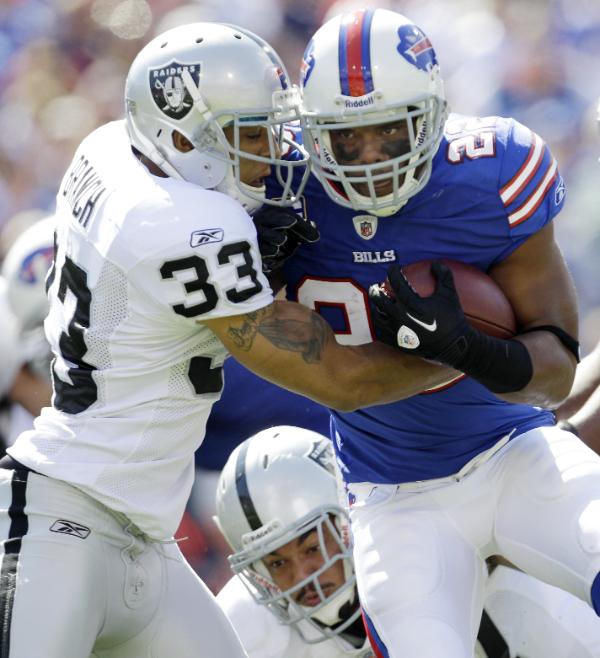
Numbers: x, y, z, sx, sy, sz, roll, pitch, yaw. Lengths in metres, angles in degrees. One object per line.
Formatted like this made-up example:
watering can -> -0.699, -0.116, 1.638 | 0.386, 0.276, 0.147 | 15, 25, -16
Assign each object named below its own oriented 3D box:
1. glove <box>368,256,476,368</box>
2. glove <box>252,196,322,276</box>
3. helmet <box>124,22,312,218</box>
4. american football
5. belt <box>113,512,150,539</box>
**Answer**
glove -> 0.249, -0.045, 1.823 | 0.081, 0.190, 0.228 | -60, 30, 14
glove -> -0.086, -0.214, 2.005 | 0.138, 0.088, 0.188 | -35, 1, -45
helmet -> -0.181, -0.445, 1.845 | 0.511, 0.385, 0.341 | 4, 21, -3
american football -> 0.310, -0.048, 1.962 | 0.270, 0.169, 0.133 | 17, 87, 3
belt -> -0.351, 0.416, 1.842 | 0.030, 0.111, 0.027 | -32, 40, 30
